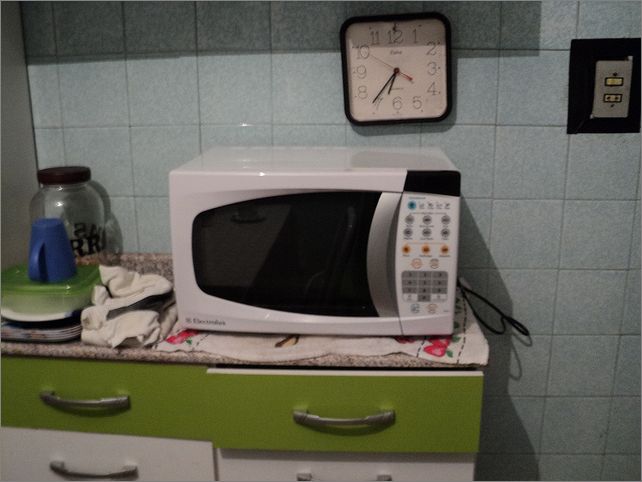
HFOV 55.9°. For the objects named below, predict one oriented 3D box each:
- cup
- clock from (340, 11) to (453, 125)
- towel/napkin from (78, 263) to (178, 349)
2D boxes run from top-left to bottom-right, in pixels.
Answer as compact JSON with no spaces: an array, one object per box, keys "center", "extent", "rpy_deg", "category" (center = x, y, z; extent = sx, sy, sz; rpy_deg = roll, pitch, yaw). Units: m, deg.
[{"center":[-0.705,0.021,1.675],"extent":[0.109,0.155,0.169],"rpy_deg":[5,24,-9],"category":"cup"},{"center":[0.231,-0.528,1.792],"extent":[0.299,0.301,0.039],"rpy_deg":[-2,12,5],"category":"clock"},{"center":[-0.530,0.176,1.633],"extent":[0.179,0.074,0.218],"rpy_deg":[3,32,-2],"category":"towel/napkin"}]
